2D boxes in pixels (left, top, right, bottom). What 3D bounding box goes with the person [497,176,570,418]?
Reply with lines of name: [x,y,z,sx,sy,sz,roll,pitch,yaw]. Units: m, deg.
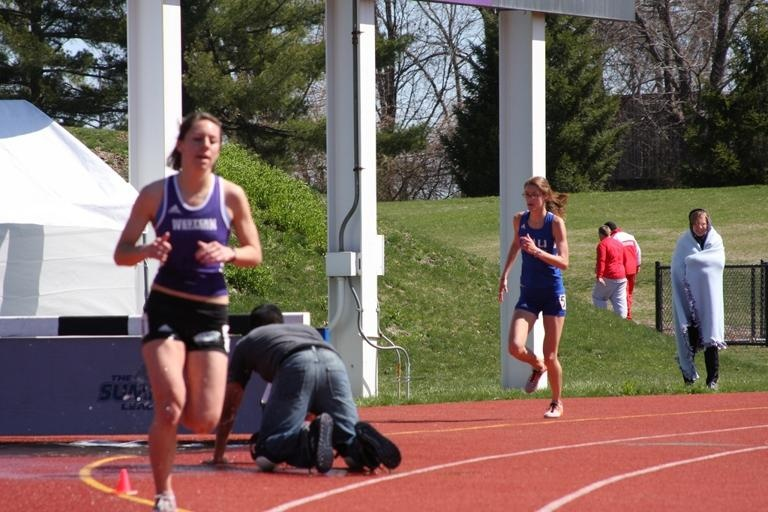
person: [2.778,0.755,23.597,1.040,4.363,1.253,0,1,6]

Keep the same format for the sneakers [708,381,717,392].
sneakers: [6.668,2.643,26.429,0.194,0.185,0.136,0,1,3]

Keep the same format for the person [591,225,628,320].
person: [5.674,0.412,32.640,0.873,2.386,1.480,1,1,10]

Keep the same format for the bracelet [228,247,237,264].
bracelet: [-2.275,-0.019,19.382,0.128,0.223,0.215,0,1,0]
